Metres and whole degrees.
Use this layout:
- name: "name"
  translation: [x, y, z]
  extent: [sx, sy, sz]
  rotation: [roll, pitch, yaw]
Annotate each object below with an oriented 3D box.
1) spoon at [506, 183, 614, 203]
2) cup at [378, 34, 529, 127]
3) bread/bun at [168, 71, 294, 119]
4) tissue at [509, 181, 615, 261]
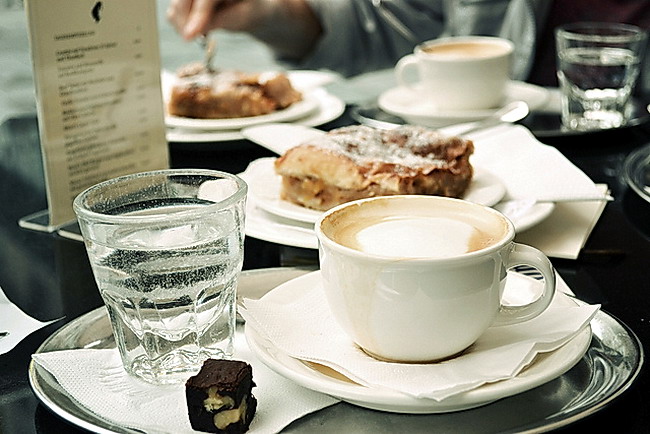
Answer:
- name: "spoon"
  translation: [0.337, -0.027, 0.879]
  extent: [0.159, 0.016, 0.049]
  rotation: [-2, 20, 0]
- name: "cup"
  translation: [0.263, -0.261, 1.149]
  extent: [0.294, 0.123, 0.287]
  rotation: [-5, 25, 2]
- name: "bread/bun"
  translation: [-0.129, -0.182, 0.827]
  extent: [0.117, 0.034, 0.083]
  rotation: [-9, 21, -24]
- name: "tissue"
  translation: [0.342, 0.017, 0.864]
  extent: [0.110, 0.016, 0.155]
  rotation: [9, 45, 37]
